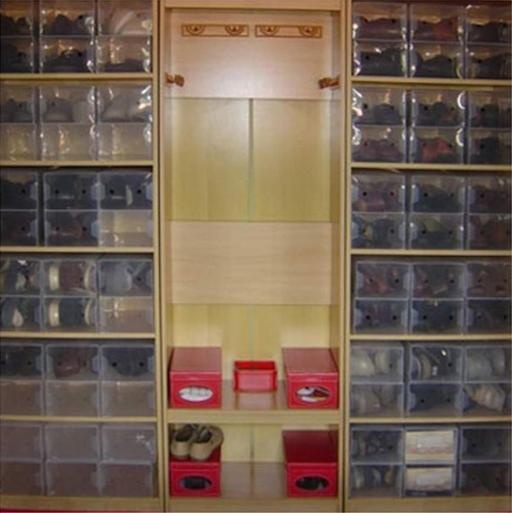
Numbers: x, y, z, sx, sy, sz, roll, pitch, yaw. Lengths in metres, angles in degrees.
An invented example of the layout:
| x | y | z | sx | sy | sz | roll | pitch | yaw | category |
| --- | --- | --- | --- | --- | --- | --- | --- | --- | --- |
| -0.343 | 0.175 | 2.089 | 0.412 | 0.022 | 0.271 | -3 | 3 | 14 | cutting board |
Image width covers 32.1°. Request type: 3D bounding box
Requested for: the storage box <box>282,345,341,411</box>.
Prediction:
| x | y | z | sx | sy | sz | roll | pitch | yaw | category |
| --- | --- | --- | --- | --- | --- | --- | --- | --- | --- |
| 0.256 | 0.544 | 4.063 | 0.239 | 0.169 | 0.378 | 0 | 15 | 1 | storage box |

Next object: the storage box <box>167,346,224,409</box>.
| x | y | z | sx | sy | sz | roll | pitch | yaw | category |
| --- | --- | --- | --- | --- | --- | --- | --- | --- | --- |
| -0.241 | 0.554 | 4.015 | 0.241 | 0.164 | 0.323 | 0 | 10 | 7 | storage box |

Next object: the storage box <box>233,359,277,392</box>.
| x | y | z | sx | sy | sz | roll | pitch | yaw | category |
| --- | --- | --- | --- | --- | --- | --- | --- | --- | --- |
| -0.003 | 0.553 | 4.093 | 0.196 | 0.139 | 0.161 | -3 | -2 | -2 | storage box |

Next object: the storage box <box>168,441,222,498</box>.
| x | y | z | sx | sy | sz | roll | pitch | yaw | category |
| --- | --- | --- | --- | --- | --- | --- | --- | --- | --- |
| -0.251 | 1.001 | 4.001 | 0.285 | 0.140 | 0.279 | 1 | -8 | -9 | storage box |
